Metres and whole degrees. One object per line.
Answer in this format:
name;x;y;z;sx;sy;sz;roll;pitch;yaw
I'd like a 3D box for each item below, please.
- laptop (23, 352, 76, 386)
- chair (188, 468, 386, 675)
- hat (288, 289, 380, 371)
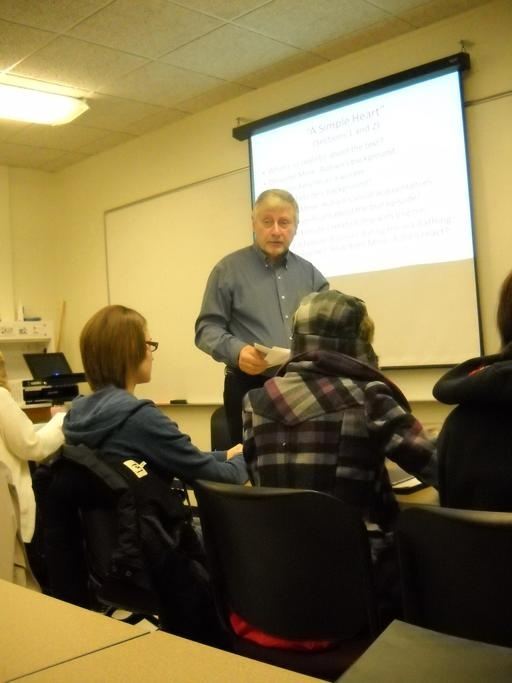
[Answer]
laptop;-1.820;0.213;4.770;0.324;0.239;0.405;-11;-10;35
chair;0.037;0.398;1.226;0.373;0.480;0.402;4;20;26
hat;0.181;-0.039;1.396;0.251;0.183;0.171;1;-1;-18
